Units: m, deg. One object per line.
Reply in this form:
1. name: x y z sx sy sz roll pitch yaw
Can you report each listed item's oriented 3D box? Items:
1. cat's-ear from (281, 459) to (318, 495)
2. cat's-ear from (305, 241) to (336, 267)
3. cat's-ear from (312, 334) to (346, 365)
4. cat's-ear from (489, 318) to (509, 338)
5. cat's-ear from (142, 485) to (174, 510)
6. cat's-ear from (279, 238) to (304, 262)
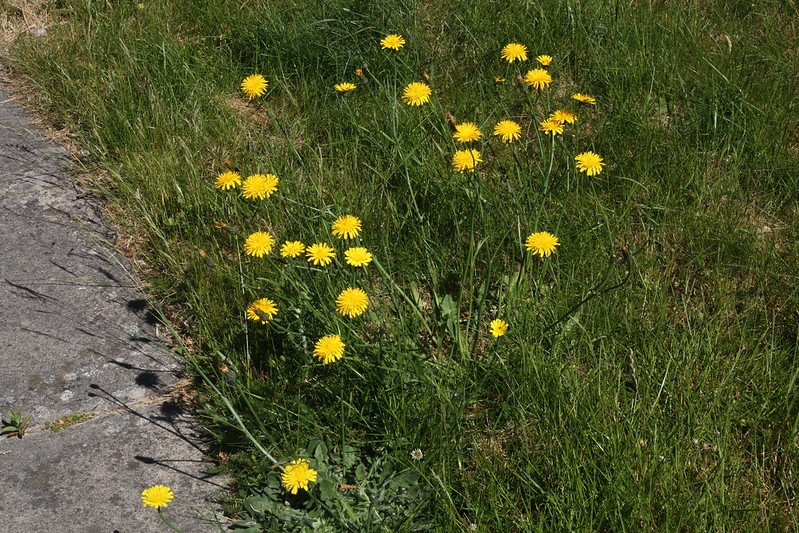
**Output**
1. cat's-ear: -0.404 0.840 2.849 0.125 0.059 0.162 -2 82 7
2. cat's-ear: -0.363 -0.041 3.111 0.107 0.027 0.131 18 51 2
3. cat's-ear: -0.297 0.344 2.914 0.108 0.050 0.133 -11 58 -9
4. cat's-ear: 0.435 0.278 3.072 0.071 0.034 0.086 4 68 27
5. cat's-ear: -0.999 0.955 2.862 0.094 0.038 0.103 -22 48 -24
6. cat's-ear: -0.476 -0.063 3.141 0.086 0.038 0.098 19 44 16
